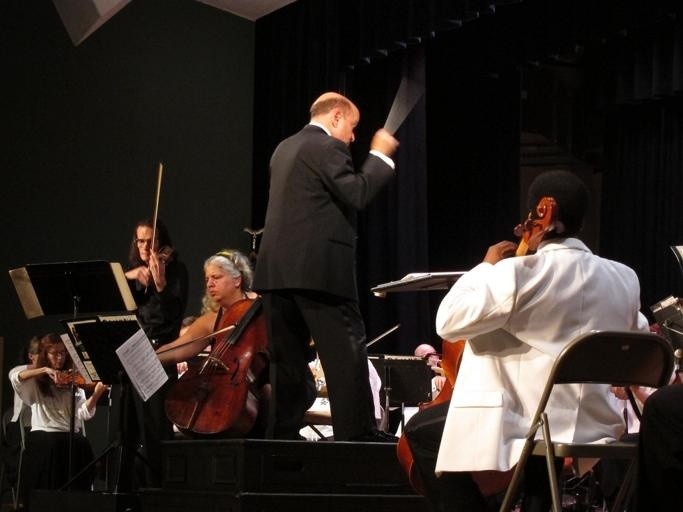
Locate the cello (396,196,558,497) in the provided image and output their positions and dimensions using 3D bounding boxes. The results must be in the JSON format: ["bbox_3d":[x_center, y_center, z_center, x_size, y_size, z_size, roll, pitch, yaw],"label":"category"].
[{"bbox_3d":[0.631,0.377,3.978,0.604,1.506,0.294,-1,22,-42],"label":"cello"}]

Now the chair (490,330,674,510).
[{"bbox_3d":[0.962,0.675,3.547,0.615,1.050,0.766,5,-6,-13],"label":"chair"}]

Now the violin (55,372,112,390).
[{"bbox_3d":[-1.833,0.868,5.777,0.310,0.099,0.316,9,-4,8],"label":"violin"}]
